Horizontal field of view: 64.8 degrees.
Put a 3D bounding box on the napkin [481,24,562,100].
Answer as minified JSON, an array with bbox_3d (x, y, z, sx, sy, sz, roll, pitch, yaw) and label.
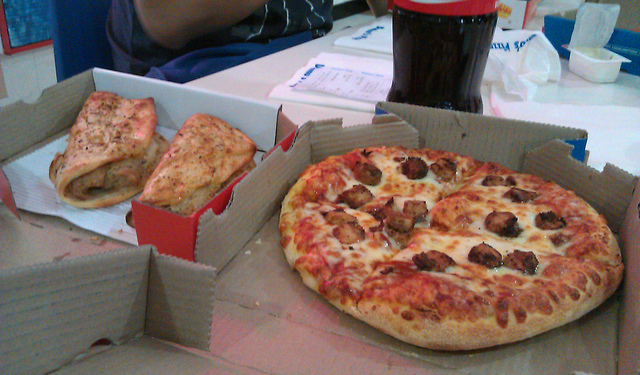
[{"bbox_3d":[0.668,-0.416,1.701,0.242,0.163,0.254,25,48,27],"label":"napkin"}]

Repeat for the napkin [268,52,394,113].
[{"bbox_3d":[0.081,-0.367,1.764,0.299,0.036,0.322,12,35,13],"label":"napkin"}]

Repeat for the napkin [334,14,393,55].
[{"bbox_3d":[0.177,-0.609,2.058,0.262,0.033,0.284,20,40,30],"label":"napkin"}]

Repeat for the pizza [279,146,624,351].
[{"bbox_3d":[0.283,0.186,1.152,0.587,0.088,0.449,20,45,26],"label":"pizza"}]
